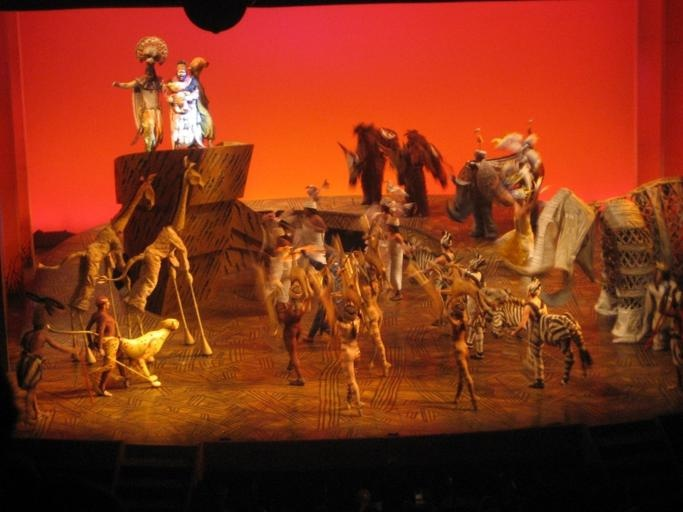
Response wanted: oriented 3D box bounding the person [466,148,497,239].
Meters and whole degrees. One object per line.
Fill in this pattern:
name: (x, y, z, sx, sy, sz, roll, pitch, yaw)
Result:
person: (1.889, -0.883, 11.137, 0.323, 1.120, 1.130, 0, 8, 18)
